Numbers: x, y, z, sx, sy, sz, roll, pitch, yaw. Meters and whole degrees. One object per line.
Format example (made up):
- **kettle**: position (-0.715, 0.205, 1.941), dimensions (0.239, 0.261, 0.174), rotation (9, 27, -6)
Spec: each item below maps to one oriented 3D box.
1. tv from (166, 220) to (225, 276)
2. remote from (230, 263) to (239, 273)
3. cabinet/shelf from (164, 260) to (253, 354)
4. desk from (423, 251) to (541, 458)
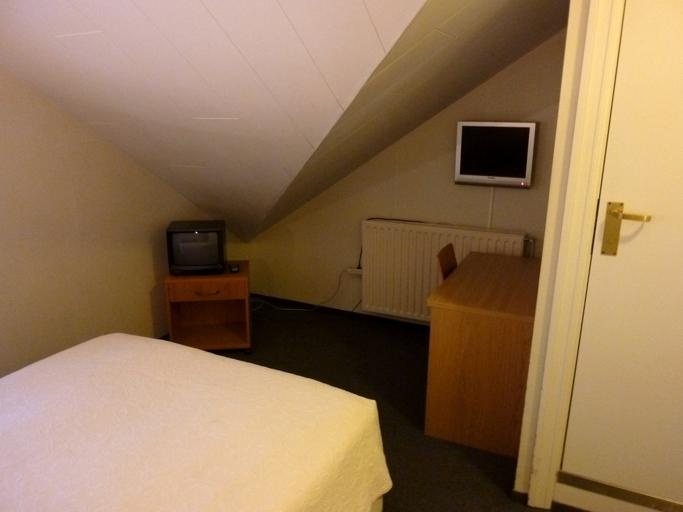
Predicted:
- **tv**: position (-1.005, -0.073, 3.751), dimensions (0.437, 0.460, 0.332), rotation (0, 7, -4)
- **remote**: position (-0.770, 0.082, 3.772), dimensions (0.054, 0.059, 0.057), rotation (4, 12, 28)
- **cabinet/shelf**: position (-0.979, 0.398, 3.983), dimensions (0.756, 0.815, 0.598), rotation (-2, 10, -5)
- **desk**: position (0.831, 0.560, 3.050), dimensions (0.547, 1.030, 0.731), rotation (5, 4, 21)
